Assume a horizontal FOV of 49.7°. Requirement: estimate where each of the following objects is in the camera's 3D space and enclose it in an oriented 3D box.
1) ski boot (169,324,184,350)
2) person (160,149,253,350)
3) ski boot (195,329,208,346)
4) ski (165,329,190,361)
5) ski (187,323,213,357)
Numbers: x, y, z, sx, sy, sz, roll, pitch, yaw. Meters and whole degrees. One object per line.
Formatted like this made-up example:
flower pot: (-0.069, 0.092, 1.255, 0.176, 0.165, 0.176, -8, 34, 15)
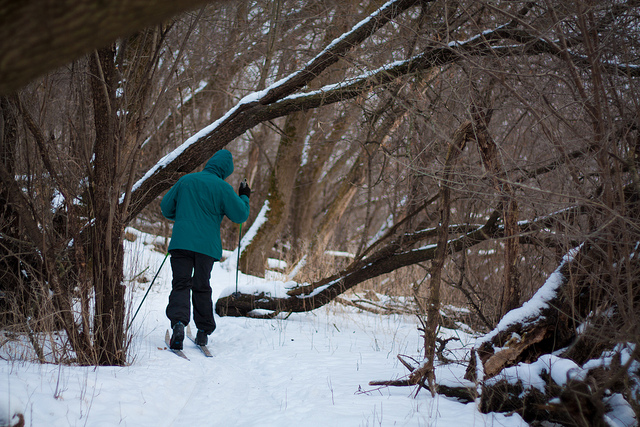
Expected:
ski boot: (-1.724, 1.504, 8.350, 0.109, 0.146, 0.341, 6, -46, -15)
person: (-1.559, 0.408, 9.045, 0.780, 2.700, 0.962, 2, -8, 40)
ski boot: (-1.500, 1.594, 8.799, 0.080, 0.184, 0.239, 2, 2, -1)
ski: (-1.736, 1.617, 8.409, 0.416, 0.052, 0.064, 48, -22, 21)
ski: (-1.530, 1.634, 8.828, 0.600, 0.062, 0.087, 45, -9, 41)
